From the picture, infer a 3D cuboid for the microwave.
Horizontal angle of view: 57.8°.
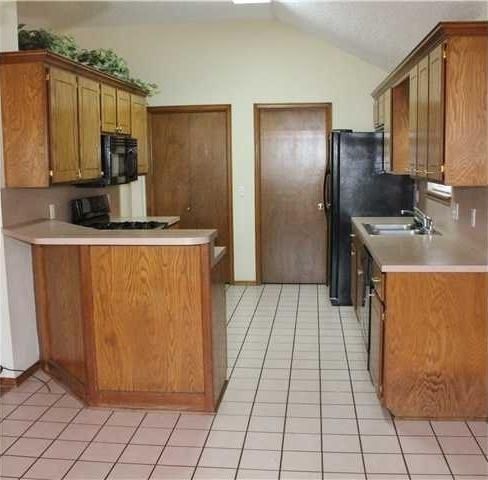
[{"bbox_3d":[-1.180,-0.726,4.034,0.315,0.417,0.631,4,12,11],"label":"microwave"}]
